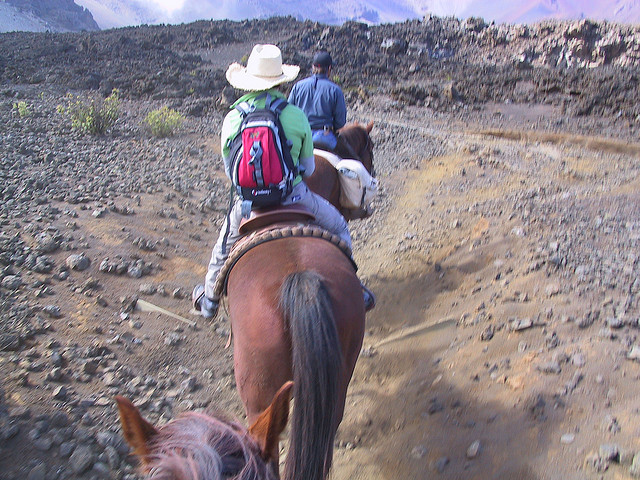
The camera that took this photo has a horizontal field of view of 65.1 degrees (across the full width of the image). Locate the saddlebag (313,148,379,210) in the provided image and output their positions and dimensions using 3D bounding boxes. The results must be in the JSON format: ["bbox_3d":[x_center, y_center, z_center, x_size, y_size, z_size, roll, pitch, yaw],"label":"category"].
[{"bbox_3d":[0.422,-0.826,7.156,0.639,0.999,0.763,3,20,4],"label":"saddlebag"}]

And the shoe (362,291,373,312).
[{"bbox_3d":[0.533,0.710,5.725,0.135,0.198,0.195,3,-3,-3],"label":"shoe"}]

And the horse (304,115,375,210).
[{"bbox_3d":[0.244,-1.068,7.005,0.298,0.818,1.343,22,68,0],"label":"horse"}]
